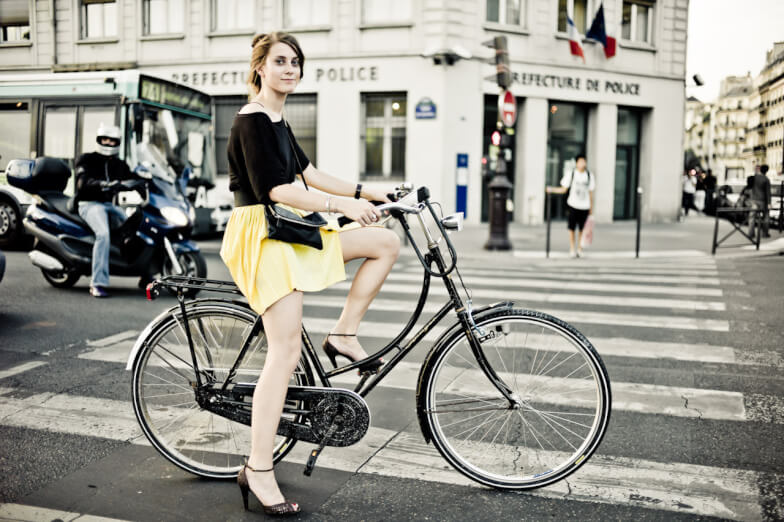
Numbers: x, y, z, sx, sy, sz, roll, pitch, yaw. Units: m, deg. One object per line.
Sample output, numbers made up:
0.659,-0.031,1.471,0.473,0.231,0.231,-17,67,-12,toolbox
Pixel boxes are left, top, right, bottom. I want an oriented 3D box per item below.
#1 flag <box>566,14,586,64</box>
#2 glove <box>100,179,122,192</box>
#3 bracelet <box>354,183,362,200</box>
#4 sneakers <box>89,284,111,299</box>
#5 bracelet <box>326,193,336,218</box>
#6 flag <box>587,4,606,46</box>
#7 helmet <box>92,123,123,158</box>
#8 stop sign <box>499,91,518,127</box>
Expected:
5.286,-6.464,27.498,0.476,1.138,1.264,4,4,14,flag
-4.141,-1.100,14.011,0.298,0.158,0.068,4,4,11,glove
-0.330,-0.682,9.386,0.090,0.156,0.137,4,-12,5,bracelet
-4.411,0.471,14.272,0.151,0.134,0.306,-2,-1,-38,sneakers
-0.566,-0.520,9.013,0.077,0.144,0.135,5,1,6,bracelet
6.096,-7.010,28.155,0.440,1.297,0.925,6,5,41,flag
-4.207,-1.794,14.133,0.337,0.489,0.485,4,3,-17,helmet
2.361,-3.140,19.507,0.323,0.776,0.745,3,4,6,stop sign
